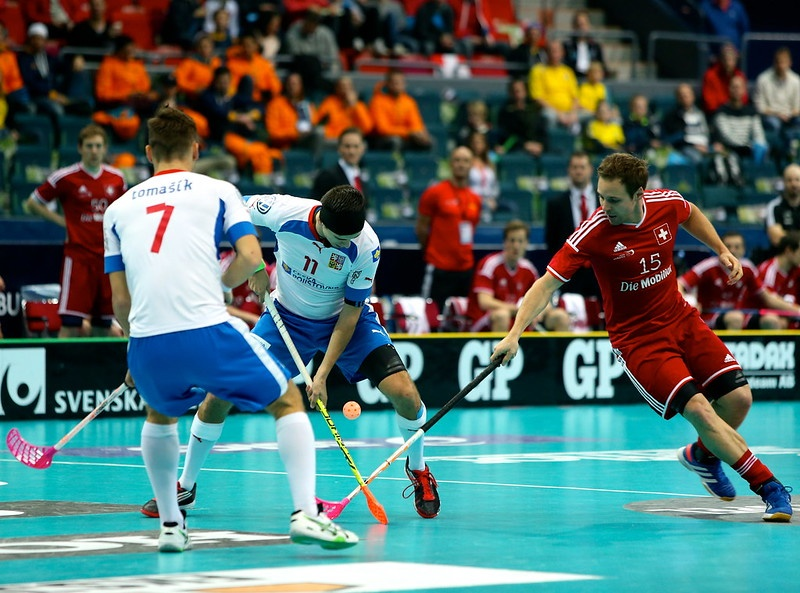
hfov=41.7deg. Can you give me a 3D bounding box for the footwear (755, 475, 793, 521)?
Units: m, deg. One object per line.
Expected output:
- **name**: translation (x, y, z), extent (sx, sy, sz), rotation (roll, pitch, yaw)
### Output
- **footwear**: translation (2.076, 1.112, 5.711), extent (0.218, 0.224, 0.212), rotation (-1, 4, -13)

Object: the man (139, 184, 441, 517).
- **man**: translation (-0.578, 0.304, 6.057), extent (1.578, 2.055, 1.154), rotation (1, 11, -4)

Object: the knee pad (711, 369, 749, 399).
- **knee pad**: translation (1.895, 0.529, 6.129), extent (0.167, 0.147, 0.186), rotation (-29, -7, -32)

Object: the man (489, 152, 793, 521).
- **man**: translation (1.517, 0.186, 6.130), extent (1.462, 2.001, 0.791), rotation (1, 5, 19)

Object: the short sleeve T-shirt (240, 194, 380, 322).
- **short sleeve T-shirt**: translation (-0.485, -0.169, 6.003), extent (0.666, 0.746, 0.334), rotation (13, 50, 8)

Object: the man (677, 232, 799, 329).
- **man**: translation (3.571, -0.118, 10.985), extent (0.771, 1.263, 0.713), rotation (-6, -19, -32)

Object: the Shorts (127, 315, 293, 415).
- **Shorts**: translation (-0.898, 0.339, 4.874), extent (0.738, 0.448, 0.239), rotation (-1, 4, -4)

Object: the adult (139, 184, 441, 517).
- **adult**: translation (-0.613, 0.306, 6.064), extent (1.616, 2.082, 1.150), rotation (1, 11, -4)

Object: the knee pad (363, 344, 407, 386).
- **knee pad**: translation (-0.086, 0.415, 6.205), extent (0.185, 0.249, 0.217), rotation (-21, 60, -38)

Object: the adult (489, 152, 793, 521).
- **adult**: translation (1.514, 0.186, 6.123), extent (1.462, 2.001, 0.777), rotation (1, 5, 19)

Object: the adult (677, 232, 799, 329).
- **adult**: translation (3.571, -0.118, 10.985), extent (0.771, 1.263, 0.713), rotation (-6, -19, -32)

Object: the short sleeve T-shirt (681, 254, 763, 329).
- **short sleeve T-shirt**: translation (3.321, -0.003, 10.750), extent (0.640, 0.752, 0.390), rotation (-9, 9, -7)

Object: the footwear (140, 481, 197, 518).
- **footwear**: translation (-1.284, 1.163, 5.895), extent (0.407, 0.198, 0.140), rotation (0, -4, -7)

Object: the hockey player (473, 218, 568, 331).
- **hockey player**: translation (1.236, -0.083, 10.871), extent (1.152, 1.336, 0.980), rotation (4, 9, 29)

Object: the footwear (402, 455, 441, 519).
- **footwear**: translation (0.132, 1.155, 6.024), extent (0.147, 0.119, 0.316), rotation (-6, 32, -8)

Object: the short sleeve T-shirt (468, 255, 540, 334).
- **short sleeve T-shirt**: translation (0.974, -0.009, 10.190), extent (0.563, 0.695, 0.344), rotation (20, 6, -34)
